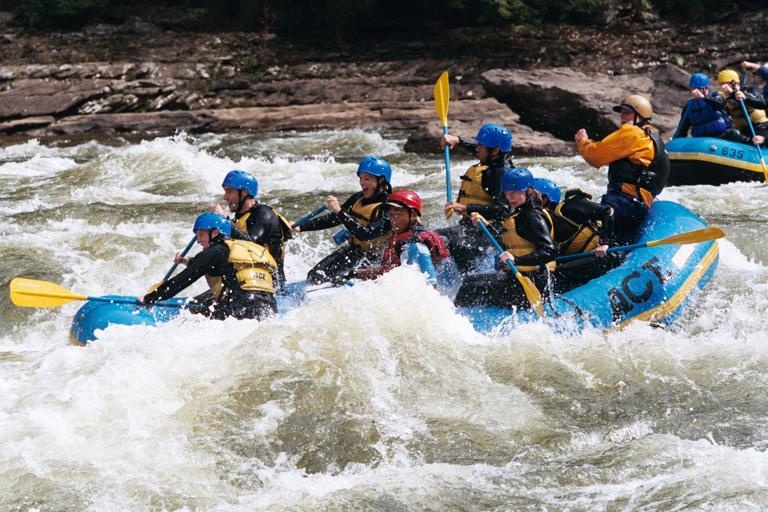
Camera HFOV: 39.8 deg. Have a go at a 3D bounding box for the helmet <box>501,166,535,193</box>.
[{"bbox_3d":[2.184,-1.243,17.283,0.486,0.284,0.374,9,-10,-36],"label":"helmet"}]

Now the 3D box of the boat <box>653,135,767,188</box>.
[{"bbox_3d":[6.821,-1.955,22.117,1.537,0.521,1.520,3,0,-44],"label":"boat"}]

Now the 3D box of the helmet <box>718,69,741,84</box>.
[{"bbox_3d":[7.331,-3.827,22.732,0.453,0.277,0.572,-3,7,3],"label":"helmet"}]

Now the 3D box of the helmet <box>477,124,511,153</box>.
[{"bbox_3d":[1.908,-2.085,18.438,0.594,0.288,0.426,16,15,-12],"label":"helmet"}]

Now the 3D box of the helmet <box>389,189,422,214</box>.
[{"bbox_3d":[0.389,-0.941,17.473,0.507,0.222,0.368,16,-1,-18],"label":"helmet"}]

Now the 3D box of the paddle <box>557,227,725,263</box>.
[{"bbox_3d":[4.228,-0.189,17.643,2.741,0.263,0.140,-10,-18,15],"label":"paddle"}]

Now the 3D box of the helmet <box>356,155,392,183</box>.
[{"bbox_3d":[-0.147,-1.506,18.314,0.610,0.443,0.458,-7,20,-24],"label":"helmet"}]

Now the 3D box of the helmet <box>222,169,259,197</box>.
[{"bbox_3d":[-2.452,-1.252,18.008,0.561,0.381,0.415,-2,18,-21],"label":"helmet"}]

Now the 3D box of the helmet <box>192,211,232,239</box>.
[{"bbox_3d":[-2.760,-0.517,17.340,0.521,0.365,0.394,26,-15,-12],"label":"helmet"}]
